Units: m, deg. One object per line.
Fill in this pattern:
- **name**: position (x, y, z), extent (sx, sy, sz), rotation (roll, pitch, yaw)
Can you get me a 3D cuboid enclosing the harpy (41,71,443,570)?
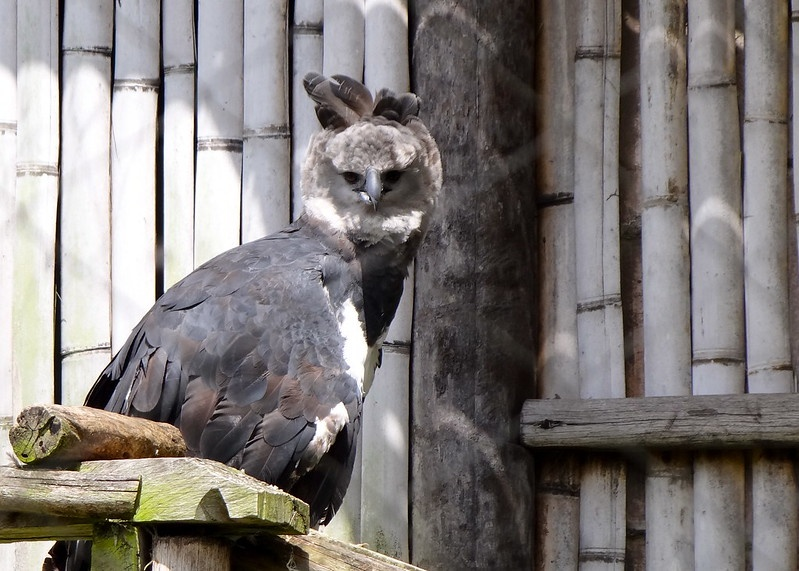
- **harpy**: position (-0.499, 0.024, 9.382), extent (1.856, 2.860, 1.423), rotation (1, -17, -4)
